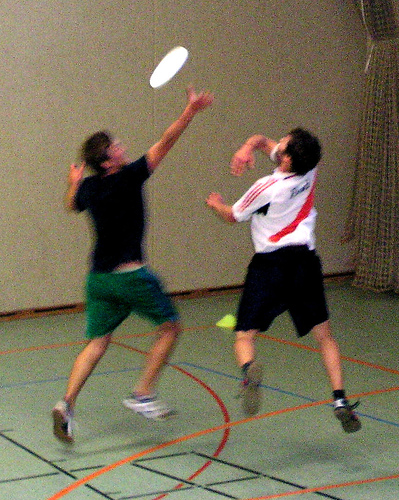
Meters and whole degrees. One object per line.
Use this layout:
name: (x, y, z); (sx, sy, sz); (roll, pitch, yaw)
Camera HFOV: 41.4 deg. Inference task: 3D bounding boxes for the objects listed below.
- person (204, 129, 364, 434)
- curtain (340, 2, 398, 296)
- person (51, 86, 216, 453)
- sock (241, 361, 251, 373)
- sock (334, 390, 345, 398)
person: (0.469, 0.142, 2.667); (0.648, 1.539, 0.470); (0, 2, -12)
curtain: (2.419, -1.359, 7.376); (0.722, 3.944, 0.963); (1, 2, 12)
person: (-0.370, 0.097, 2.798); (0.741, 1.823, 0.547); (1, 2, -4)
sock: (0.221, 0.551, 2.481); (0.014, 0.061, 0.029); (29, 3, -3)
sock: (0.709, 0.733, 2.682); (0.053, 0.036, 0.041); (1, 2, 9)
